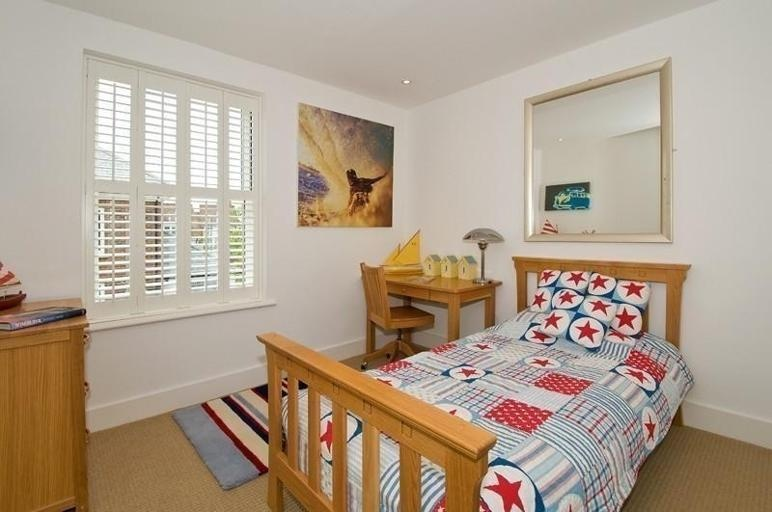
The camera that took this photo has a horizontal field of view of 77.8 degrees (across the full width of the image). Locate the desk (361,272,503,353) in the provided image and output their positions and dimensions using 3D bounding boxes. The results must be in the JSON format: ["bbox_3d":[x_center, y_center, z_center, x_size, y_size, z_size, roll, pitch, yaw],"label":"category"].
[{"bbox_3d":[0.649,0.597,4.825,0.612,0.682,0.870,2,4,36],"label":"desk"}]

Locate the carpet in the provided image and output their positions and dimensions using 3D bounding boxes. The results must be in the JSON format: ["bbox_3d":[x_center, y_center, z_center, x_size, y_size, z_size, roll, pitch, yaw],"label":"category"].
[{"bbox_3d":[-1.200,1.411,3.728,0.677,0.034,0.712,1,14,-38],"label":"carpet"}]

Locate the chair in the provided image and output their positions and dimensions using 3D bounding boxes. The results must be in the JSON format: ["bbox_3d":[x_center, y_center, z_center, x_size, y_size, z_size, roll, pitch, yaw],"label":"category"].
[{"bbox_3d":[0.130,0.609,4.978,0.674,0.976,0.692,2,2,-8],"label":"chair"}]

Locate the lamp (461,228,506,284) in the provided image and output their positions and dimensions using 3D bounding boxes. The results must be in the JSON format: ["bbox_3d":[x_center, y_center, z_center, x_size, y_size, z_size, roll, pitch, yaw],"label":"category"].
[{"bbox_3d":[0.971,0.008,4.711,0.403,0.529,0.408,-2,-12,31],"label":"lamp"}]
